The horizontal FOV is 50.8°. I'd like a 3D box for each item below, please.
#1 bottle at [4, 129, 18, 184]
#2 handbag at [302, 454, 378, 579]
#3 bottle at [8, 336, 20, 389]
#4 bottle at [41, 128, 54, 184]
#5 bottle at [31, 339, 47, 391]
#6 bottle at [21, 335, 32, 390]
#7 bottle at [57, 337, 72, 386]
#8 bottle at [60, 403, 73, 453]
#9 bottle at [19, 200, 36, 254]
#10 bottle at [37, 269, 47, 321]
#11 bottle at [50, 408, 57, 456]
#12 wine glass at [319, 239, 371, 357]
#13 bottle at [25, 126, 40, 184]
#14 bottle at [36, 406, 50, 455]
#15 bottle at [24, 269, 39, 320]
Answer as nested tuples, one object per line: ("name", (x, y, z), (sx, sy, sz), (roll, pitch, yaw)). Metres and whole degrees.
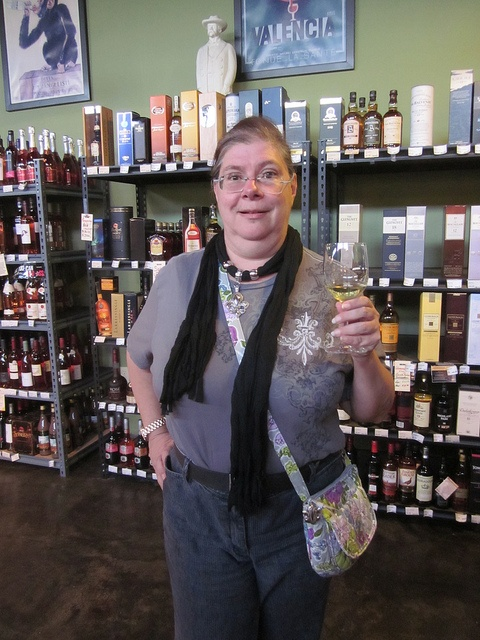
("bottle", (-1.435, -1.022, 3.161), (0.078, 0.345, 0.202), (-3, 7, -25))
("handbag", (0.199, 0.405, 0.983), (0.081, 0.172, 0.227), (4, 8, 34))
("bottle", (-1.418, 0.267, 3.178), (0.070, 0.316, 0.097), (-4, 7, -30))
("bottle", (-1.137, -0.987, 3.014), (0.069, 0.358, 0.257), (-3, 6, -21))
("bottle", (-1.245, 0.272, 3.127), (0.088, 0.321, 0.084), (0, 6, 0))
("bottle", (-1.331, 0.277, 3.145), (0.067, 0.310, 0.108), (-3, 6, -24))
("bottle", (-1.088, 0.265, 3.147), (0.071, 0.287, 0.192), (-2, 6, -19))
("bottle", (-1.078, 0.673, 3.147), (0.059, 0.322, 0.229), (-2, 6, -19))
("bottle", (-1.306, -0.535, 3.121), (0.097, 0.235, 0.081), (-3, 6, -25))
("bottle", (-1.188, -0.150, 3.027), (0.050, 0.308, 0.193), (-3, 6, -22))
("bottle", (-1.164, 0.681, 3.143), (0.046, 0.334, 0.185), (-3, 6, -21))
("wine glass", (0.185, -0.032, 0.891), (0.073, 0.214, 0.241), (1, 6, 10))
("bottle", (-1.240, -1.001, 3.034), (0.079, 0.347, 0.499), (-3, 7, -21))
("bottle", (-1.238, 0.697, 3.181), (0.115, 0.310, 0.060), (5, 8, 43))
("bottle", (-1.284, -0.160, 3.094), (0.186, 0.304, 0.060), (6, 8, 44))
